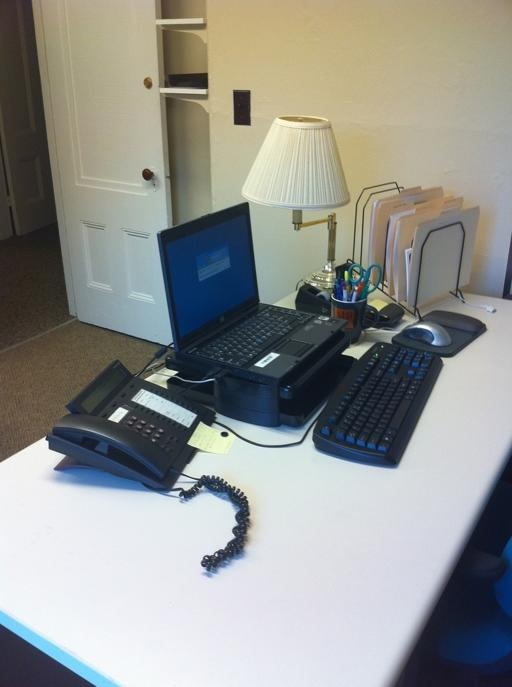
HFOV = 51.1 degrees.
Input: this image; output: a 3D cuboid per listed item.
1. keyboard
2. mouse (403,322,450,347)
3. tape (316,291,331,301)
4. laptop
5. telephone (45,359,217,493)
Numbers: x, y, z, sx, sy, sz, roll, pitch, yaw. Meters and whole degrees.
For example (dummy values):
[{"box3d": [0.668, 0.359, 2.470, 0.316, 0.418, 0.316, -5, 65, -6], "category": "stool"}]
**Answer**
[{"box3d": [0.265, 0.103, 1.115, 0.178, 0.047, 0.422, 9, 28, 27], "category": "keyboard"}, {"box3d": [0.431, -0.021, 1.352, 0.058, 0.033, 0.092, -16, 32, -36], "category": "mouse"}, {"box3d": [0.192, -0.133, 1.503, 0.028, 0.029, 0.029, 18, 9, -29], "category": "tape"}, {"box3d": [-0.050, -0.102, 1.212, 0.370, 0.354, 0.466, 14, 33, 20], "category": "laptop"}, {"box3d": [-0.216, 0.140, 0.915, 0.215, 0.085, 0.233, 18, 35, 4], "category": "telephone"}]
